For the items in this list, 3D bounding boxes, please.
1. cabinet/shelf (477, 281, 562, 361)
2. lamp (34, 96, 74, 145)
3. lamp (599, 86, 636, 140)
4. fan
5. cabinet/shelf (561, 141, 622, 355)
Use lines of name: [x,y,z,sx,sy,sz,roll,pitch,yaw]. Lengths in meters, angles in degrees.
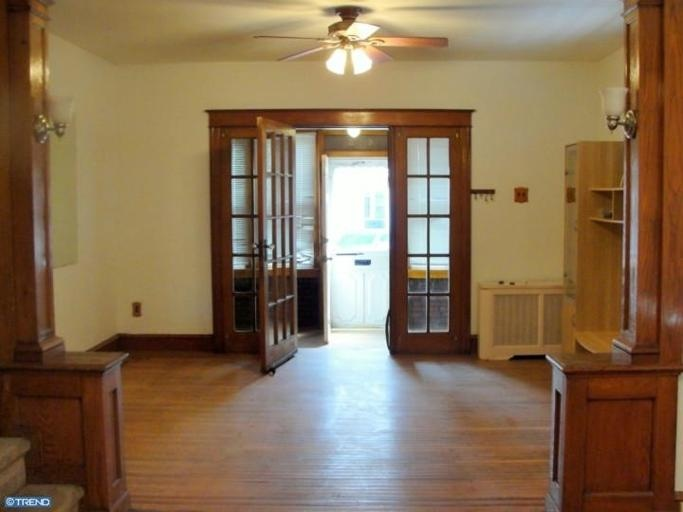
cabinet/shelf: [1.790,0.655,6.361,0.757,0.673,0.297,0,1,-1]
lamp: [-1.683,-0.809,3.767,0.162,0.272,0.269,-1,9,0]
lamp: [1.622,-0.841,3.732,0.182,0.303,0.253,2,10,17]
fan: [0.149,-1.671,4.832,0.755,0.173,0.800,4,-8,-38]
cabinet/shelf: [2.333,-0.023,5.867,0.477,2.052,1.344,2,10,17]
